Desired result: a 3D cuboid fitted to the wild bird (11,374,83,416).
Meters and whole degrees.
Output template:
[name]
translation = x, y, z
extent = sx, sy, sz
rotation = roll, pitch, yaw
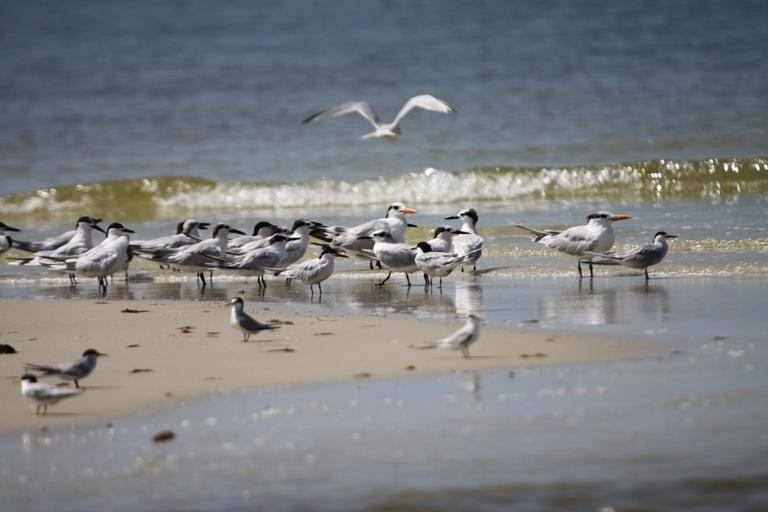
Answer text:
[wild bird]
translation = -3.785, 1.555, 12.386
extent = 0.728, 0.433, 0.369
rotation = -3, 11, -2
